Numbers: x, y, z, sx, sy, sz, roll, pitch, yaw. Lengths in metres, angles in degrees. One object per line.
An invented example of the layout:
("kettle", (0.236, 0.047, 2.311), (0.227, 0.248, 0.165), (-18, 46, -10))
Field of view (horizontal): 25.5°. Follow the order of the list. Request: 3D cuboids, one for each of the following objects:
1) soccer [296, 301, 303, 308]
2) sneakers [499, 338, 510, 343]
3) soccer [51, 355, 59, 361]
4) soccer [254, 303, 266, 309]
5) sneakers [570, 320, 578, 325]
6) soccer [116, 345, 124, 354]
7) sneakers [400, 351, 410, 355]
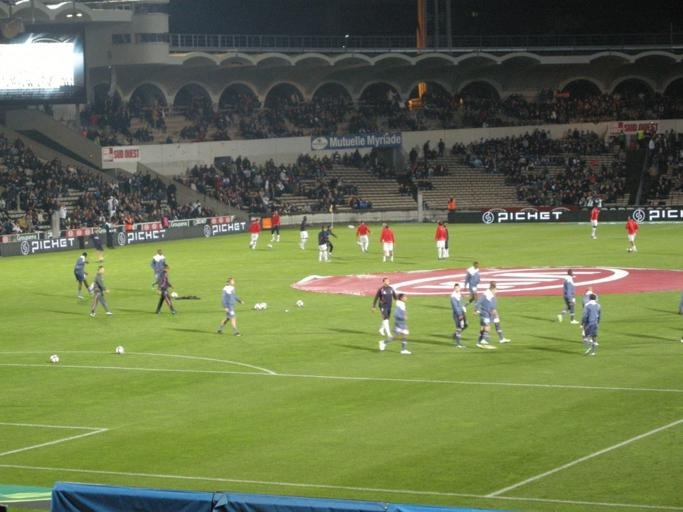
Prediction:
("soccer", (-2.503, 2.967, 92.733), (0.394, 0.266, 0.375), (-3, 4, -8))
("sneakers", (9.246, 4.770, 85.093), (0.656, 0.266, 0.228), (-5, 8, -12))
("soccer", (-15.755, 5.669, 83.532), (0.345, 0.196, 0.386), (0, 7, -18))
("soccer", (-4.869, 3.109, 92.576), (0.775, 0.334, 0.704), (-3, 4, -8))
("sneakers", (13.589, 3.871, 87.790), (0.501, 0.199, 0.190), (-4, 9, -41))
("soccer", (-12.372, 5.253, 84.667), (0.419, 0.388, 0.403), (-6, -14, 7))
("sneakers", (3.645, 5.374, 83.926), (0.426, 0.168, 0.213), (0, 2, -2))
